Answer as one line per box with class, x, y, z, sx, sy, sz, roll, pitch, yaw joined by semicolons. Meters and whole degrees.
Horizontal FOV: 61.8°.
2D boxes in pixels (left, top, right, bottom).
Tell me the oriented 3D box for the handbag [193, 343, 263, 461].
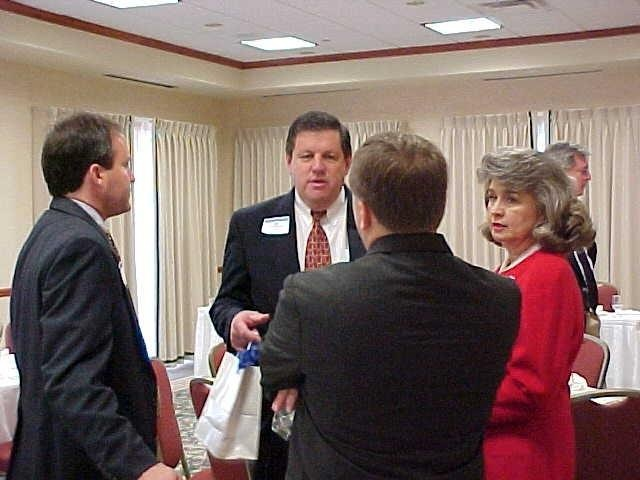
handbag;-0.314;0.587;1.847;0.180;0.295;0.224;-4;2;-36
